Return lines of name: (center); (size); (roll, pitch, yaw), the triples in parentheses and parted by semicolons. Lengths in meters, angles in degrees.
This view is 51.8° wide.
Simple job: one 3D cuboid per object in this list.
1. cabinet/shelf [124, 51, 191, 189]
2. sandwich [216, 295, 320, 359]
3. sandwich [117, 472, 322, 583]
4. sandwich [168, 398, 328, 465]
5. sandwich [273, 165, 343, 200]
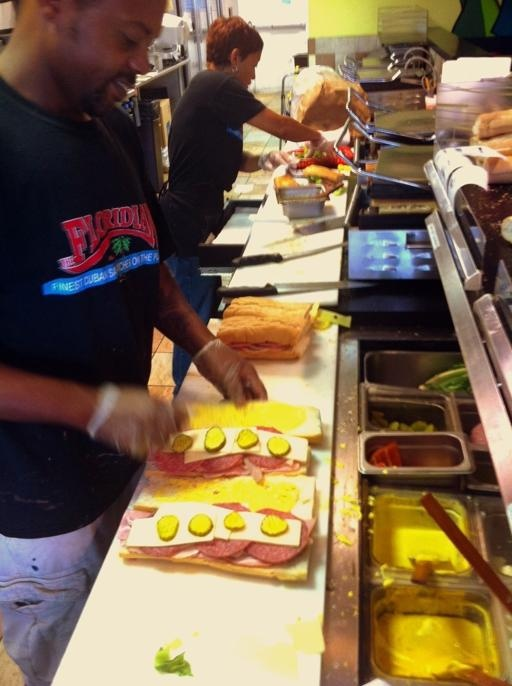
cabinet/shelf: (-1.190, -2.744, 6.683); (0.451, 1.066, 1.231); (-19, 23, -9)
sandwich: (0.032, -0.049, 1.725); (0.233, 0.082, 0.233); (4, 37, 8)
sandwich: (-0.075, 0.366, 1.068); (0.268, 0.061, 0.205); (2, 32, 8)
sandwich: (-0.019, 0.223, 1.317); (0.297, 0.050, 0.180); (-1, 37, -5)
sandwich: (0.305, -0.903, 2.937); (0.387, 0.128, 0.276); (0, 43, 11)
